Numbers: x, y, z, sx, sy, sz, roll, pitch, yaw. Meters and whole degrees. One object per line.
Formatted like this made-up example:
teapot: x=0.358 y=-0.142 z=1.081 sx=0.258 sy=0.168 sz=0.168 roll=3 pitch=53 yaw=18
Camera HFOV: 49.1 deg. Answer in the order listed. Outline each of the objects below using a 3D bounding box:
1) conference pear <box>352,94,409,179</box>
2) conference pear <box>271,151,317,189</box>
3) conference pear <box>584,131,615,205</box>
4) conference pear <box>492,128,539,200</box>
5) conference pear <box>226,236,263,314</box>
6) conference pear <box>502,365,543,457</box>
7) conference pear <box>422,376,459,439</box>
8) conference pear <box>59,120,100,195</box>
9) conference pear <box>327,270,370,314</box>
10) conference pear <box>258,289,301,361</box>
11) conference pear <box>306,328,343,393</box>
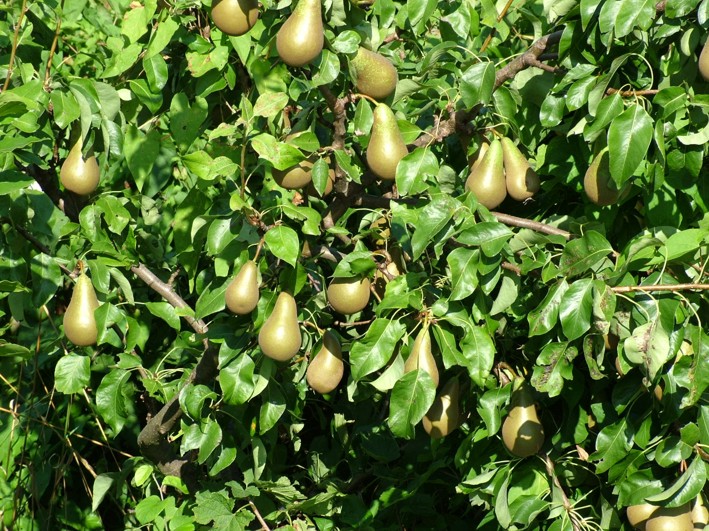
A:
conference pear: x=0.084 y=-0.348 z=2.118 sx=0.112 sy=0.294 sz=0.119 roll=-4 pitch=-4 yaw=-15
conference pear: x=-0.170 y=-0.248 z=2.162 sx=0.117 sy=0.112 sz=0.122 roll=-3 pitch=33 yaw=-4
conference pear: x=0.679 y=-0.258 z=2.136 sx=0.081 sy=0.173 sz=0.102 roll=-18 pitch=35 yaw=-27
conference pear: x=0.471 y=-0.299 z=2.256 sx=0.093 sy=0.216 sz=0.095 roll=-29 pitch=21 yaw=-11
conference pear: x=-0.282 y=0.026 z=2.071 sx=0.075 sy=0.231 sz=0.087 roll=12 pitch=-6 yaw=9
conference pear: x=0.494 y=0.444 z=2.266 sx=0.118 sy=0.229 sz=0.171 roll=5 pitch=32 yaw=8
conference pear: x=0.252 y=0.394 z=2.227 sx=0.078 sy=0.183 sz=0.078 roll=0 pitch=-17 yaw=43
conference pear: x=-0.780 y=-0.325 z=2.256 sx=0.124 sy=0.219 sz=0.132 roll=0 pitch=28 yaw=-31
conference pear: x=-0.004 y=0.049 z=2.111 sx=0.087 sy=0.104 sz=0.126 roll=-22 pitch=-12 yaw=-24
conference pear: x=-0.195 y=0.151 z=2.093 sx=0.103 sy=0.201 sz=0.110 roll=18 pitch=23 yaw=25
conference pear: x=-0.085 y=0.275 z=2.204 sx=0.089 sy=0.183 sz=0.073 roll=6 pitch=3 yaw=-44
